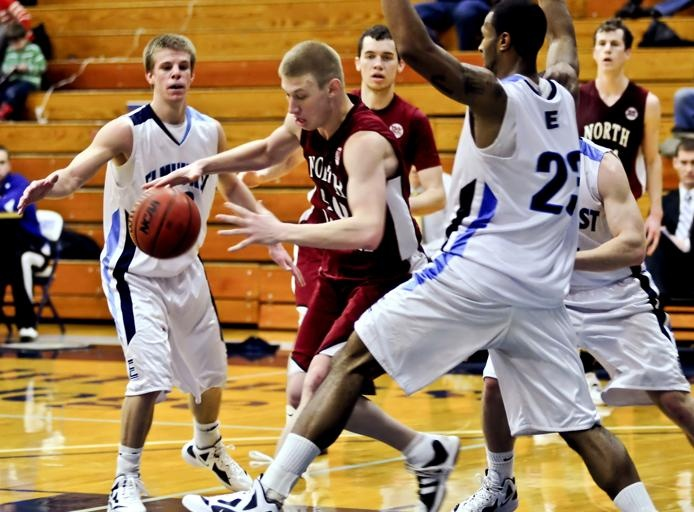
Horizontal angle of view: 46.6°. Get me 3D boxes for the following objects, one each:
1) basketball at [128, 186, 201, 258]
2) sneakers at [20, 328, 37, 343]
[{"bbox_3d":[-0.861,-0.157,3.805,0.320,0.329,0.171,-1,3,-12],"label":"basketball"},{"bbox_3d":[-3.696,0.894,9.308,0.177,0.161,0.171,-1,3,-24],"label":"sneakers"}]
